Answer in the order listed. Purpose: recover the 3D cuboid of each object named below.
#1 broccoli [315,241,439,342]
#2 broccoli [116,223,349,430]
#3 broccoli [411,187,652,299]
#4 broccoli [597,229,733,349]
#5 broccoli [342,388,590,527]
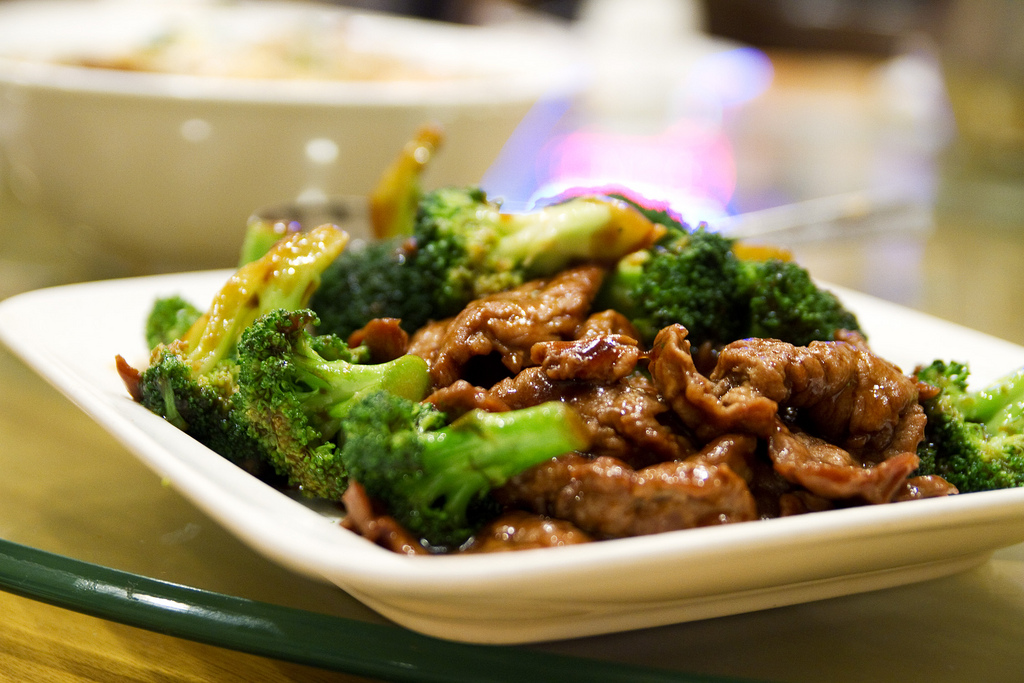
[{"bbox_3d":[-0.273,-0.134,2.075,0.222,0.167,0.270,-23,12,34],"label":"broccoli"},{"bbox_3d":[-0.516,-0.075,1.822,0.552,0.162,0.212,-34,33,-13],"label":"broccoli"},{"bbox_3d":[0.033,-0.222,1.895,0.398,0.163,0.247,-10,19,8],"label":"broccoli"},{"bbox_3d":[0.348,-0.111,1.848,0.220,0.142,0.245,-16,40,3],"label":"broccoli"},{"bbox_3d":[-0.084,0.189,1.469,0.315,0.174,0.227,-15,31,0],"label":"broccoli"}]
